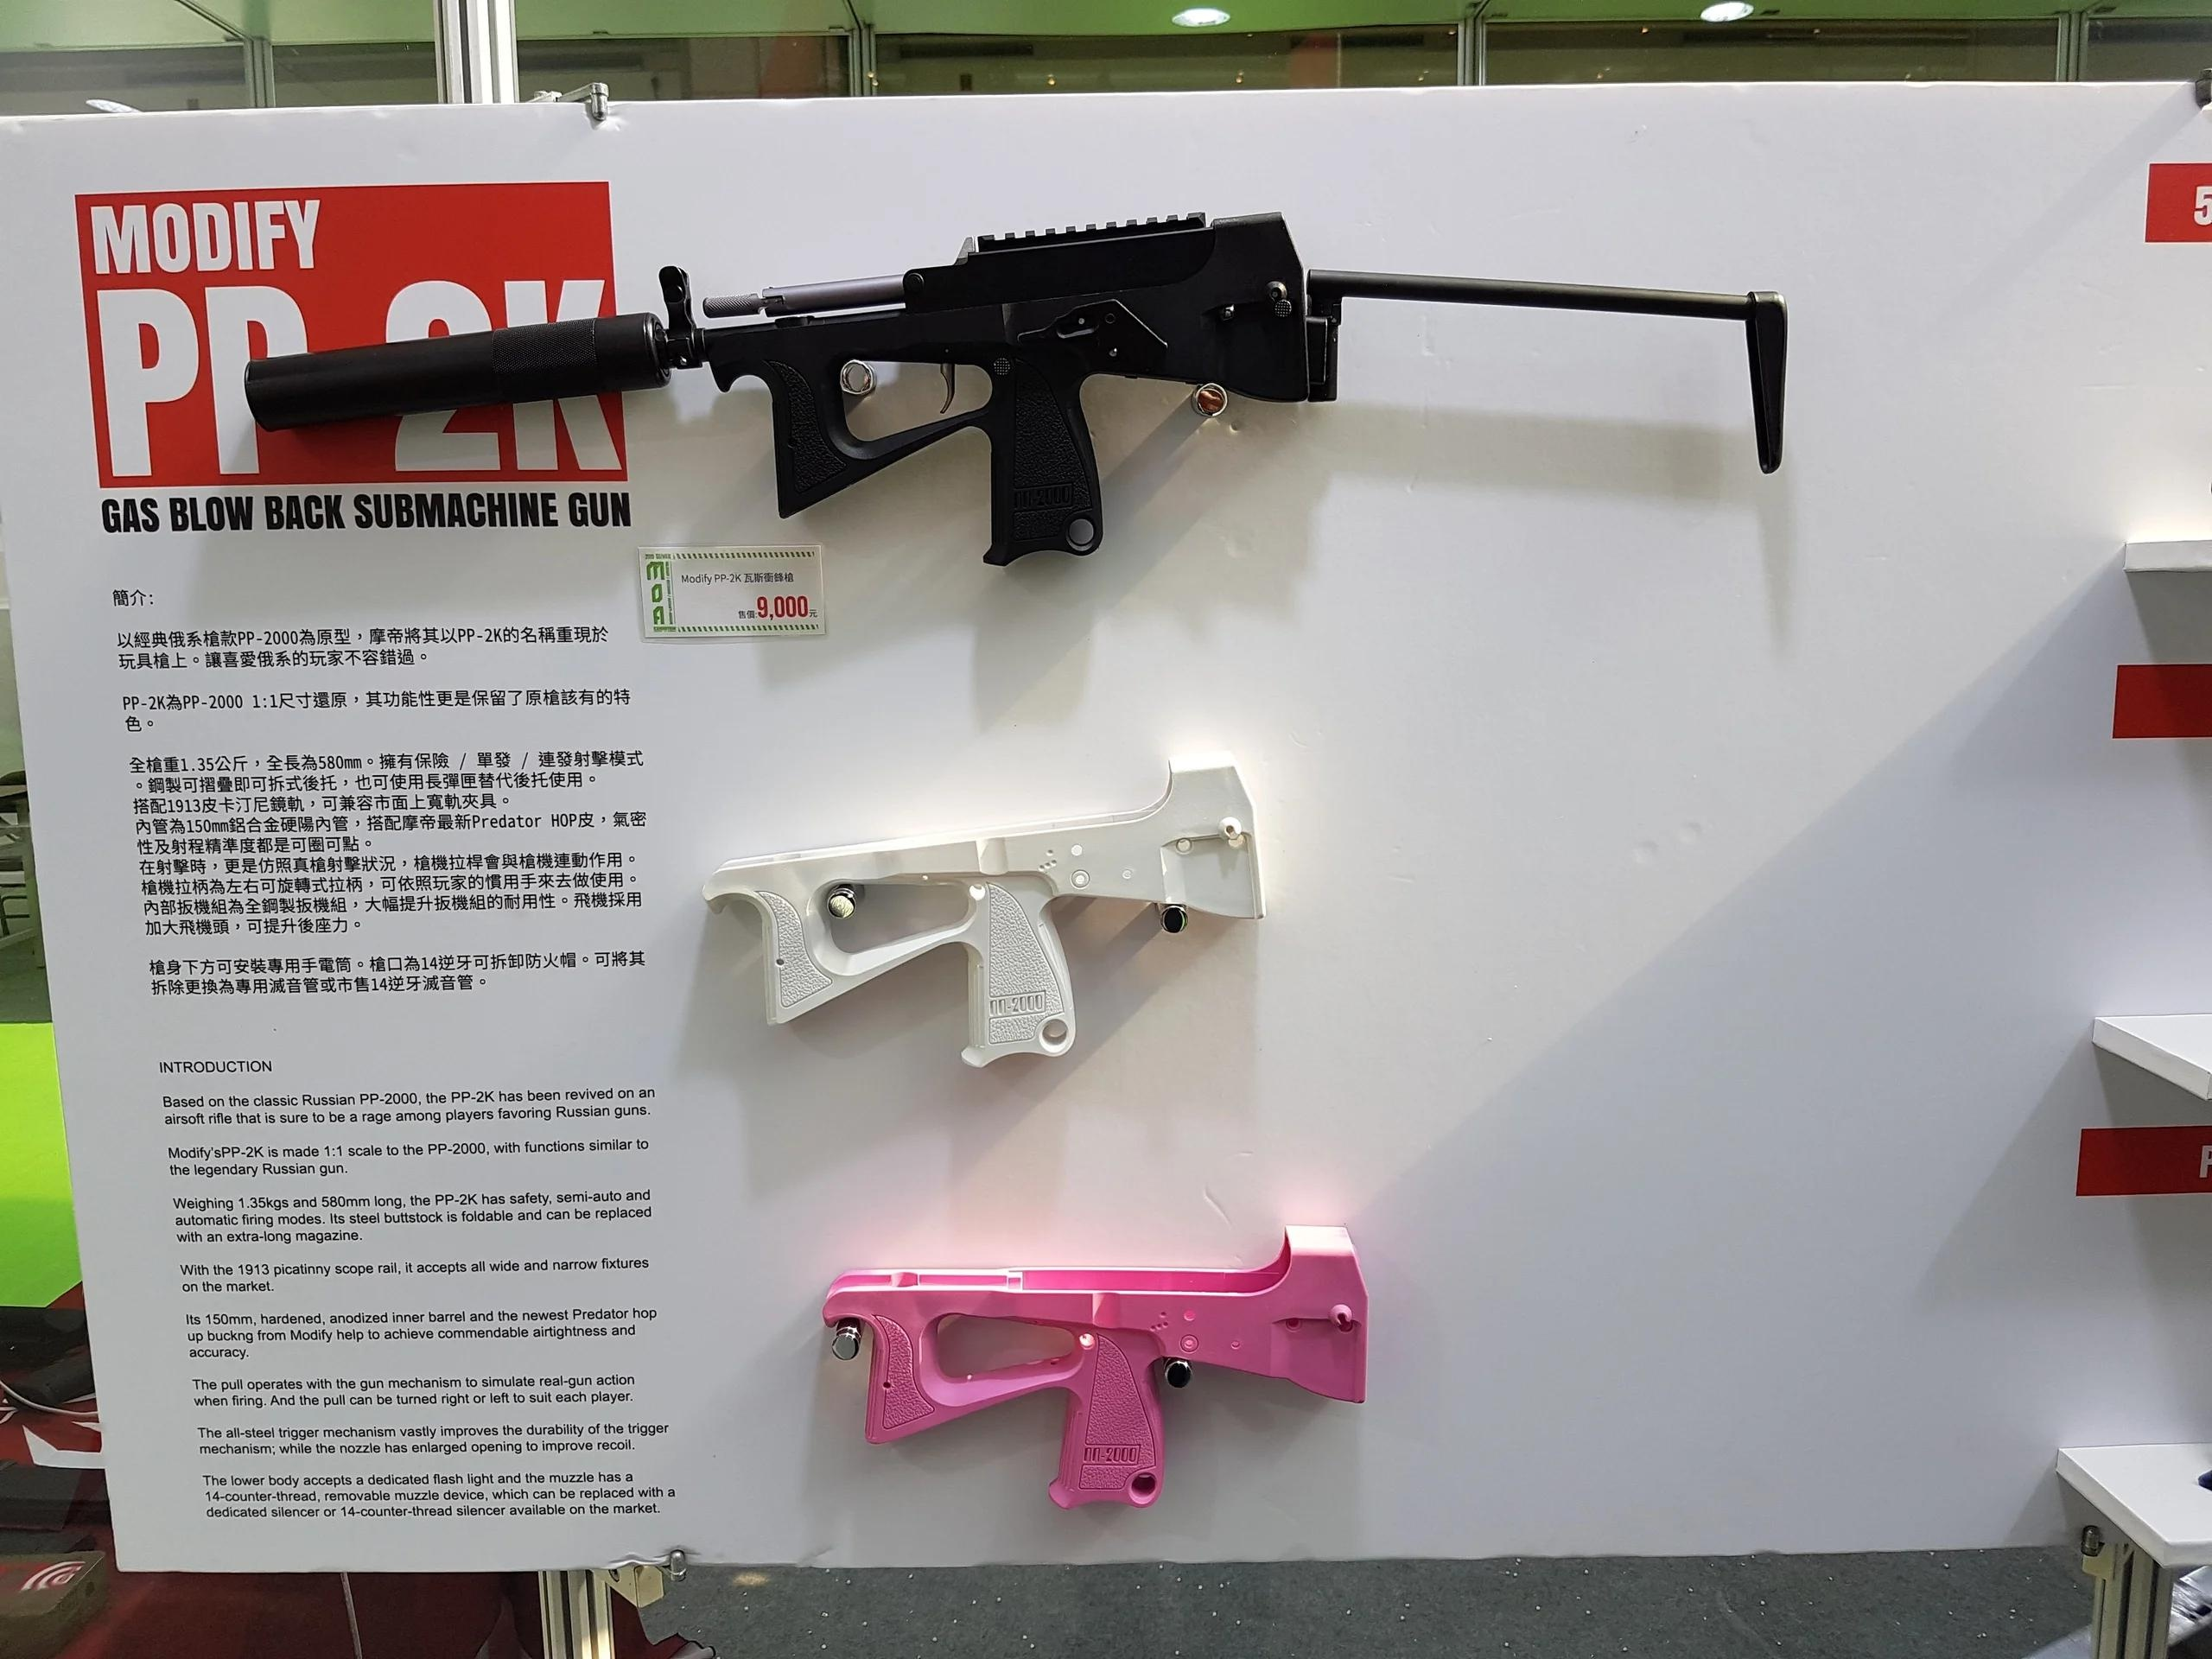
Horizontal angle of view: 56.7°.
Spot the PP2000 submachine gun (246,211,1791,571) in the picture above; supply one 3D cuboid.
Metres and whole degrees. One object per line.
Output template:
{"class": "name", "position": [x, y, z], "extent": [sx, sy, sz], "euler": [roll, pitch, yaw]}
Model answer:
{"class": "PP2000 submachine gun", "position": [-0.108, -0.360, 1.835], "extent": [1.375, 0.347, 0.158], "euler": [-1, -17, 10]}
